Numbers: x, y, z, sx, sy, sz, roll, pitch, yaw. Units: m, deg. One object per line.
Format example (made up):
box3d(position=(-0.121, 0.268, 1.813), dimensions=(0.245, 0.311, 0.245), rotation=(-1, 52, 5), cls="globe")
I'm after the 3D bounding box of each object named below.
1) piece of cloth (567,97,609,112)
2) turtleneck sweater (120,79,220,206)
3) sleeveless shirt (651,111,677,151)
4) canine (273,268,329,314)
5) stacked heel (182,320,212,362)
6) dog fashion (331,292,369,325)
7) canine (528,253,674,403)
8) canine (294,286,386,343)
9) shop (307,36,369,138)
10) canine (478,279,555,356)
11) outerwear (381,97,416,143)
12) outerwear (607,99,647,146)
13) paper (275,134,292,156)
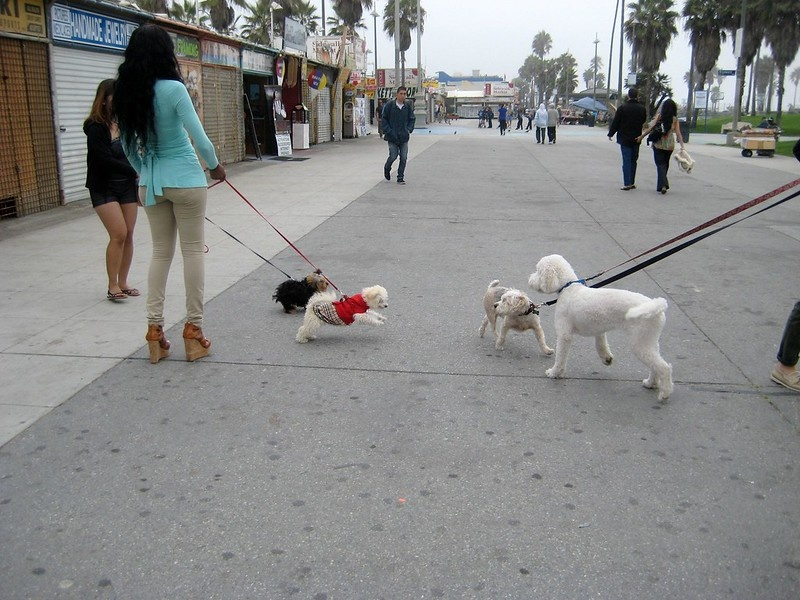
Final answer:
box3d(position=(23.486, -23.984, 67.764), dimensions=(2.439, 1.693, 8.933), rotation=(11, 24, 25), cls="piece of cloth")
box3d(position=(-1.810, -1.221, 4.309), dimensions=(0.764, 0.939, 0.323), rotation=(6, 22, 15), cls="turtleneck sweater")
box3d(position=(6.189, -3.887, 12.778), dimensions=(0.450, 0.744, 0.664), rotation=(9, 23, 22), cls="sleeveless shirt")
box3d(position=(-1.056, -0.162, 5.823), dimensions=(0.698, 0.500, 0.298), rotation=(-11, 40, -15), cls="canine")
box3d(position=(-1.705, 0.353, 4.583), dimensions=(0.144, 0.291, 0.404), rotation=(2, 17, 5), cls="stacked heel")
box3d(position=(-0.468, 0.064, 5.050), dimensions=(0.282, 0.122, 0.255), rotation=(-27, 67, -16), cls="dog fashion")
box3d(position=(1.584, 0.194, 4.325), dimensions=(0.416, 0.944, 1.221), rotation=(-15, 19, -37), cls="canine")
box3d(position=(-0.511, 0.091, 5.203), dimensions=(0.910, 0.509, 0.420), rotation=(-7, 23, -7), cls="canine")
box3d(position=(-3.315, -13.687, 35.384), dimensions=(3.408, 5.749, 5.892), rotation=(-4, 19, -26), cls="shop")
box3d(position=(0.945, 0.099, 5.008), dimensions=(0.409, 0.527, 0.801), rotation=(-13, 15, -19), cls="canine")
box3d(position=(-0.062, -4.650, 14.314), dimensions=(0.852, 1.074, 0.662), rotation=(-1, 21, -3), cls="outerwear")
box3d(position=(5.501, -4.010, 13.332), dimensions=(0.796, 1.598, 0.480), rotation=(0, 20, 6), cls="outerwear")
box3d(position=(-4.760, -6.300, 22.257), dimensions=(0.075, 1.064, 0.888), rotation=(-4, 8, 36), cls="paper")
